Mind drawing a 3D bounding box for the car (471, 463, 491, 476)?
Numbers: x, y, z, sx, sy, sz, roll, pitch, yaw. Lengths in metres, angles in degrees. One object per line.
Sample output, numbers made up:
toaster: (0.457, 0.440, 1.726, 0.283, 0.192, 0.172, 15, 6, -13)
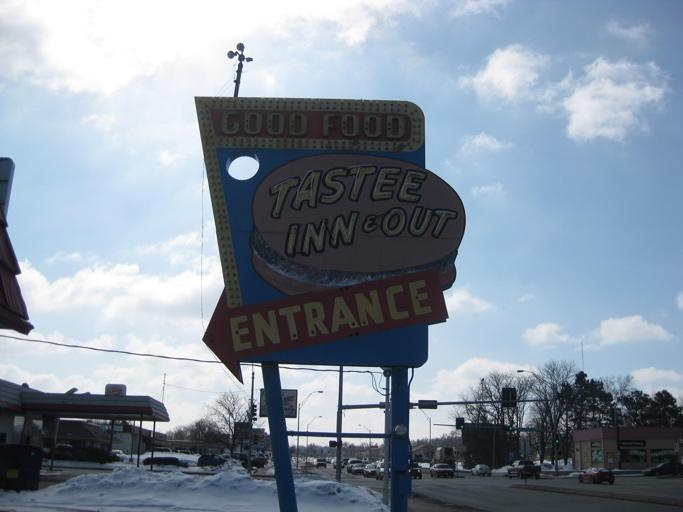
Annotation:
car: (14.626, 22.640, 77.832, 1.000, 0.984, 2.493, 1, -11, -2)

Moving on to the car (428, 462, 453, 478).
car: (9.243, 20.183, 69.178, 1.055, 0.934, 2.528, 1, -7, -1)

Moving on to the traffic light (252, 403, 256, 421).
traffic light: (-6.740, 12.078, 56.652, 0.334, 0.946, 1.005, 1, -15, -18)

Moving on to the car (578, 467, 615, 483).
car: (19.195, 16.629, 55.724, 1.394, 0.961, 2.663, 1, -10, -4)

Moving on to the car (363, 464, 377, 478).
car: (2.481, 19.037, 65.106, 0.782, 0.708, 2.010, 1, -25, -4)
